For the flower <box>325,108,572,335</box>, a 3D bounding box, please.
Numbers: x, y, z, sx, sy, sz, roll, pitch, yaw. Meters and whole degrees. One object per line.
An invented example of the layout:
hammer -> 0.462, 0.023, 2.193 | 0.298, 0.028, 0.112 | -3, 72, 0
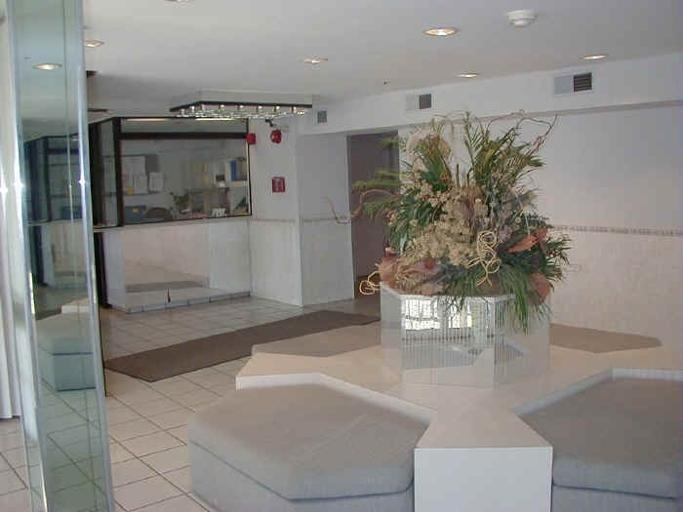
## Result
flower -> 0.472, -0.106, 1.654 | 0.513, 0.511, 0.358 | -3, 0, -3
